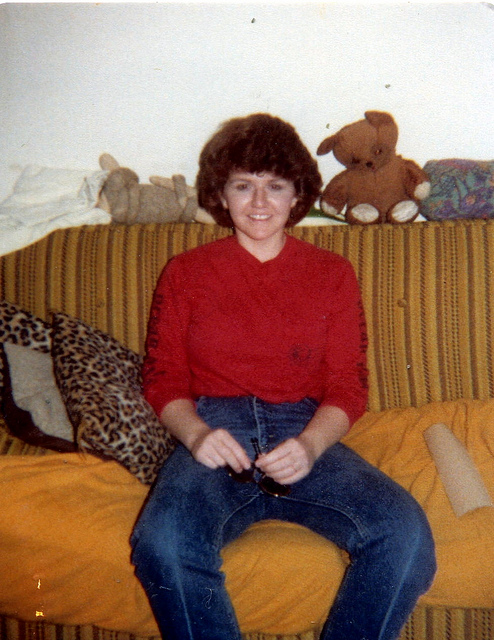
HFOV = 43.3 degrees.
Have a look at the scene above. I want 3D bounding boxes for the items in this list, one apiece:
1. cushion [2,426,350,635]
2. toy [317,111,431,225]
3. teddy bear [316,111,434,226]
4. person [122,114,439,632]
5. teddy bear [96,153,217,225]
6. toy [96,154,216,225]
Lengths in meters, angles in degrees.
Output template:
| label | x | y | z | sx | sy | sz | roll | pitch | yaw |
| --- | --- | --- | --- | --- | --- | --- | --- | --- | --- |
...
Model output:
| label | x | y | z | sx | sy | sz | roll | pitch | yaw |
| --- | --- | --- | --- | --- | --- | --- | --- | --- | --- |
| cushion | -0.166 | 0.418 | 1.275 | 0.684 | 0.155 | 0.356 | 7 | -16 | -3 |
| toy | 0.342 | -0.401 | 1.736 | 0.332 | 0.276 | 0.178 | -12 | 42 | -2 |
| teddy bear | 0.355 | -0.401 | 1.733 | 0.336 | 0.290 | 0.187 | -7 | 42 | 27 |
| person | 0.032 | 0.068 | 1.301 | 0.611 | 1.023 | 0.755 | -3 | 12 | -11 |
| teddy bear | -0.260 | -0.349 | 1.836 | 0.414 | 0.119 | 0.187 | 18 | 25 | -35 |
| toy | -0.261 | -0.353 | 1.835 | 0.355 | 0.185 | 0.126 | 4 | -29 | -32 |
